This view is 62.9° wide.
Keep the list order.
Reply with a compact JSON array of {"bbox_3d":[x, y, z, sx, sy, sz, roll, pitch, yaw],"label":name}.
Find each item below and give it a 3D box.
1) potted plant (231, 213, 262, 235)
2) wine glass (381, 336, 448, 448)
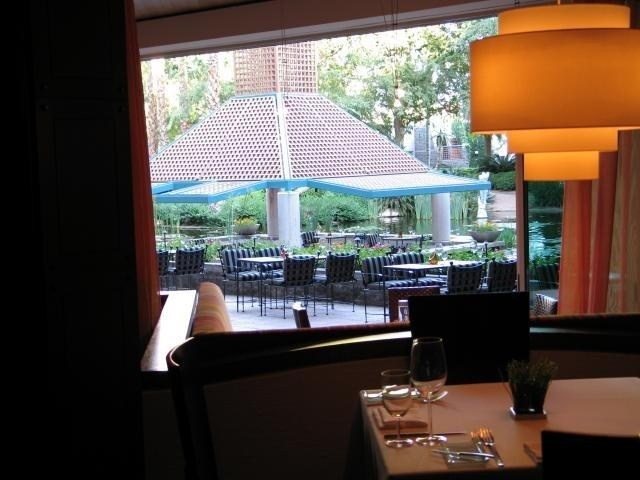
[{"bbox_3d":[-1.919,-0.563,13.755,0.855,0.507,0.878,0,-4,-2],"label":"potted plant"},{"bbox_3d":[0.329,0.486,1.804,0.202,0.301,0.393,-2,6,12],"label":"wine glass"}]
